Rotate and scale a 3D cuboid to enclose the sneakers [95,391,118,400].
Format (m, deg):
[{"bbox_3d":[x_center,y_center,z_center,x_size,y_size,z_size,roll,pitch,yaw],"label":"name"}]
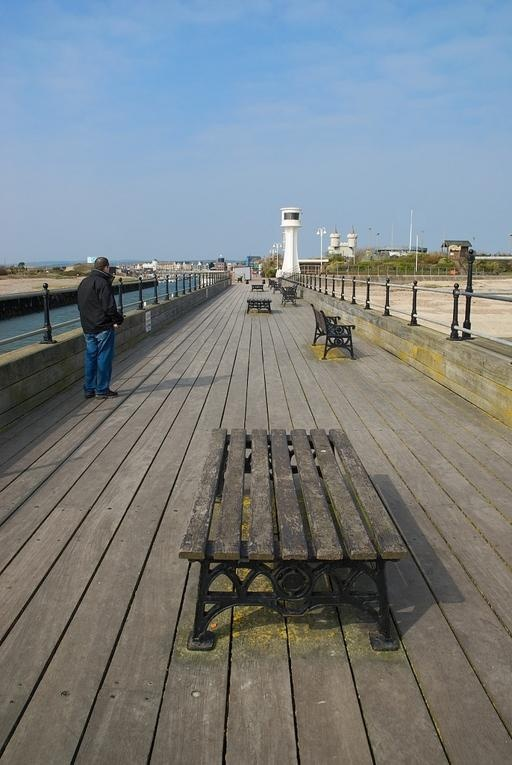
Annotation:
[{"bbox_3d":[-1.815,0.131,6.159,0.220,0.122,0.096,-5,13,-21],"label":"sneakers"}]

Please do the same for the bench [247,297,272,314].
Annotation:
[{"bbox_3d":[0.078,-2.606,17.101,0.592,0.598,1.042,1,11,2],"label":"bench"}]

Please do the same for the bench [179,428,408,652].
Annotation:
[{"bbox_3d":[0.146,0.670,2.330,0.831,0.493,1.253,0,7,0],"label":"bench"}]

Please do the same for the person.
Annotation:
[{"bbox_3d":[-1.873,-0.658,6.094,0.496,1.686,0.322,-1,5,-6],"label":"person"}]
